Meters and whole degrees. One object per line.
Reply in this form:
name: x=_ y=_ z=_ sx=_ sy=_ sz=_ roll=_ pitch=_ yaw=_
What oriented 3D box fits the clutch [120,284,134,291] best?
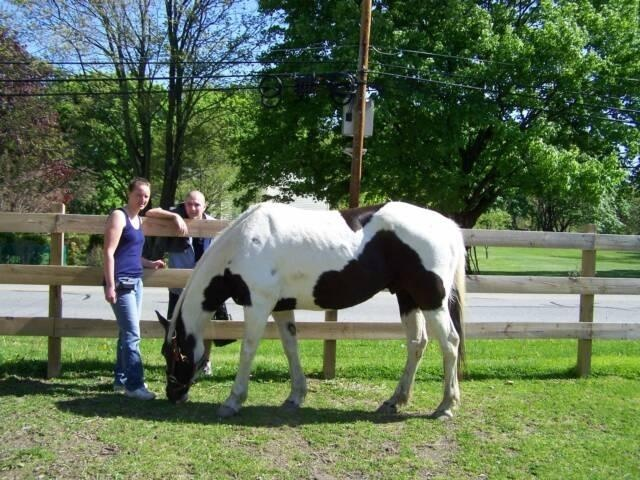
clutch: x=-3.302 y=0.792 z=12.296 sx=0.236 sy=0.130 sz=0.050 roll=2 pitch=0 yaw=-17
